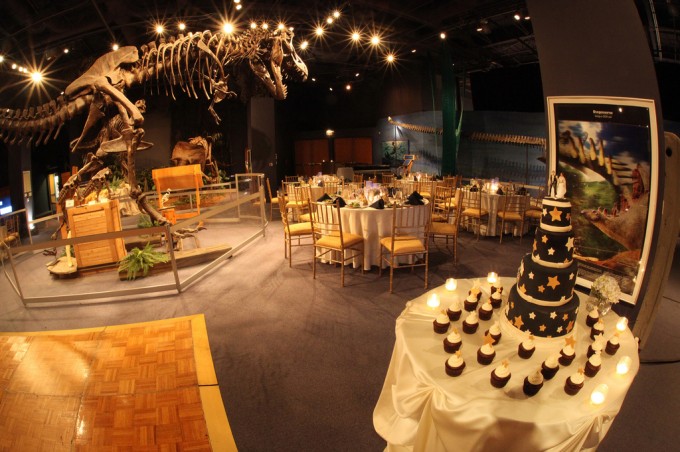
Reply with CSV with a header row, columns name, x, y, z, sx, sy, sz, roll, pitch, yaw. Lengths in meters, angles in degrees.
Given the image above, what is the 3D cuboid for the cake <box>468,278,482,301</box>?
name,x,y,z,sx,sy,sz,roll,pitch,yaw
cake,1.530,0.731,4.799,0.141,0.211,0.147,-7,17,-6

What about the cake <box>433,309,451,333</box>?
name,x,y,z,sx,sy,sz,roll,pitch,yaw
cake,1.075,1.000,4.490,0.195,0.217,0.203,1,1,19

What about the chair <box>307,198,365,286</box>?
name,x,y,z,sx,sy,sz,roll,pitch,yaw
chair,-0.032,0.214,7.664,0.761,1.486,0.895,3,14,23

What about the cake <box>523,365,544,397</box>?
name,x,y,z,sx,sy,sz,roll,pitch,yaw
cake,1.856,1.453,4.024,0.263,0.273,0.096,-6,11,-10

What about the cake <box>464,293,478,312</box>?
name,x,y,z,sx,sy,sz,roll,pitch,yaw
cake,1.433,0.842,4.714,0.154,0.179,0.159,-5,10,-15

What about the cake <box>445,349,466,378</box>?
name,x,y,z,sx,sy,sz,roll,pitch,yaw
cake,1.108,1.332,4.172,0.207,0.230,0.216,0,5,-3

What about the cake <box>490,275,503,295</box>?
name,x,y,z,sx,sy,sz,roll,pitch,yaw
cake,1.813,0.693,4.893,0.171,0.256,0.177,1,6,31

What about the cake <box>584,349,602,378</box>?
name,x,y,z,sx,sy,sz,roll,pitch,yaw
cake,2.496,1.323,4.170,0.111,0.223,0.241,6,15,44

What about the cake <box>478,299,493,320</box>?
name,x,y,z,sx,sy,sz,roll,pitch,yaw
cake,1.569,0.903,4.599,0.167,0.237,0.177,1,4,6

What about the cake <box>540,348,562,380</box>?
name,x,y,z,sx,sy,sz,roll,pitch,yaw
cake,2.062,1.354,4.132,0.102,0.251,0.108,16,49,24

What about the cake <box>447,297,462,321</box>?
name,x,y,z,sx,sy,sz,roll,pitch,yaw
cake,1.242,0.914,4.601,0.157,0.227,0.155,-14,19,-43

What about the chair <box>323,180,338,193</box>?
name,x,y,z,sx,sy,sz,roll,pitch,yaw
chair,-0.238,-0.987,10.850,0.429,0.310,0.461,0,11,6

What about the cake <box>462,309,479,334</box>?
name,x,y,z,sx,sy,sz,roll,pitch,yaw
cake,1.383,1.013,4.501,0.183,0.263,0.200,2,1,16

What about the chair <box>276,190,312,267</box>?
name,x,y,z,sx,sy,sz,roll,pitch,yaw
chair,-0.786,0.085,8.442,0.693,1.068,0.704,-7,-1,3

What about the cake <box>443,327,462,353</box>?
name,x,y,z,sx,sy,sz,roll,pitch,yaw
cake,1.128,1.166,4.379,0.197,0.219,0.195,2,2,2
